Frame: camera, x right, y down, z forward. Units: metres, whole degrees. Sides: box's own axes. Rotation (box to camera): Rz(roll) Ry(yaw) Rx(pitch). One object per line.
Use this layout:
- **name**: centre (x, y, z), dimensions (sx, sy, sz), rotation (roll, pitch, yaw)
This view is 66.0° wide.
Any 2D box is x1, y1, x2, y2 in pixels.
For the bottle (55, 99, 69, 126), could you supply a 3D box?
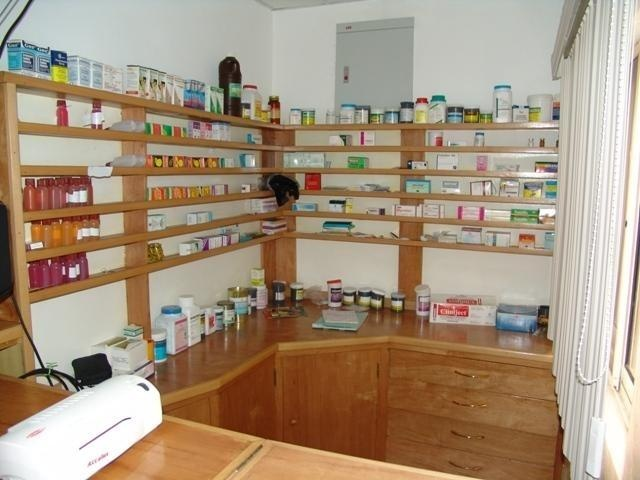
- **bottle**: centre (-1.281, -0.635, 2.444), dimensions (0.052, 0.133, 0.175), rotation (-9, 14, -27)

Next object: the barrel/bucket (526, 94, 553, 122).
- **barrel/bucket**: centre (1.568, -0.944, 3.481), dimensions (0.191, 0.199, 0.193), rotation (1, 5, 0)

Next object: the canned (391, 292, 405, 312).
- **canned**: centre (0.623, 0.498, 3.940), dimensions (0.143, 0.131, 0.117), rotation (2, 4, 17)

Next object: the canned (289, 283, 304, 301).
- **canned**: centre (-0.193, 0.446, 4.170), dimensions (0.138, 0.141, 0.135), rotation (0, -2, 10)
